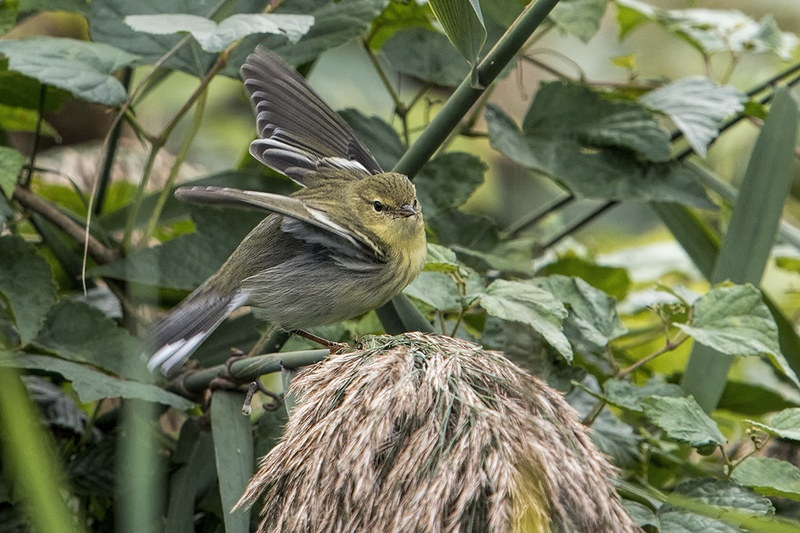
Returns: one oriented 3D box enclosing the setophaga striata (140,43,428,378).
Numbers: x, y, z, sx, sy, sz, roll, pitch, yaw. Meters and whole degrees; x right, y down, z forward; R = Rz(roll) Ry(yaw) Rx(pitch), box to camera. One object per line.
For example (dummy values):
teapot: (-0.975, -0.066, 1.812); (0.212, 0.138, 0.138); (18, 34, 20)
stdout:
setophaga striata: (-0.271, -0.111, 2.440); (0.742, 1.023, 0.588); (18, 1, -12)
